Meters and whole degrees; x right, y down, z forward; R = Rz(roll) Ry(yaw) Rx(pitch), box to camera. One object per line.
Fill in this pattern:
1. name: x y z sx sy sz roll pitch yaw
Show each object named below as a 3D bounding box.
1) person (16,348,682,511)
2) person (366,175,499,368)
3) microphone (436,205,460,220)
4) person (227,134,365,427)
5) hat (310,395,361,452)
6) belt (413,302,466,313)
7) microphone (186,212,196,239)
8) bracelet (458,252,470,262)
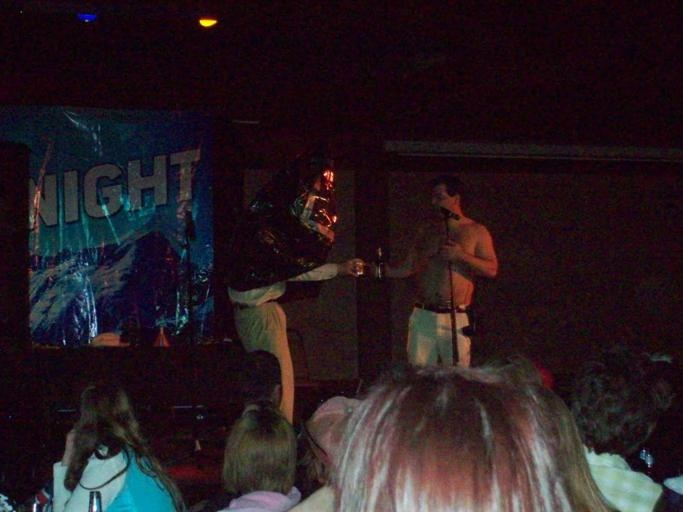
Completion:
1. person: -0.146 0.957 3.684 1.938 0.818 0.447 2 -14 -12
2. person: 0.871 0.102 5.923 0.694 1.636 0.983 5 -7 -38
3. microphone: 0.913 -0.363 5.752 0.146 0.058 0.112 28 -3 -31
4. person: -0.492 0.205 5.460 0.874 2.137 0.479 1 -6 -4
5. hat: -0.023 0.690 2.766 0.127 0.223 0.251 5 -7 -35
6. belt: 0.852 0.438 5.711 0.463 0.092 0.157 0 -6 12
7. microphone: -1.301 -0.270 5.811 0.075 0.241 0.160 0 -6 12
8. bracelet: 1.043 0.007 5.714 0.078 0.059 0.077 4 -7 -30
